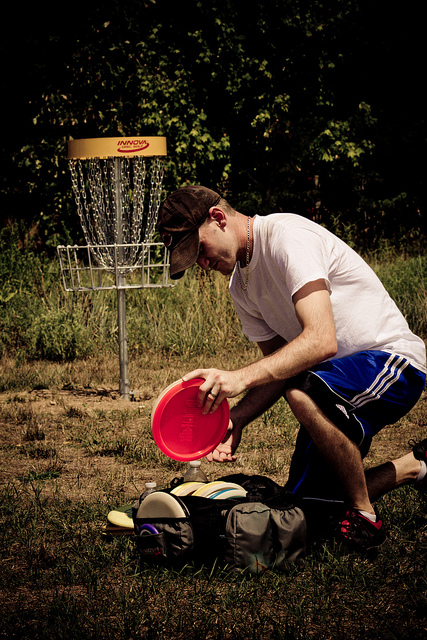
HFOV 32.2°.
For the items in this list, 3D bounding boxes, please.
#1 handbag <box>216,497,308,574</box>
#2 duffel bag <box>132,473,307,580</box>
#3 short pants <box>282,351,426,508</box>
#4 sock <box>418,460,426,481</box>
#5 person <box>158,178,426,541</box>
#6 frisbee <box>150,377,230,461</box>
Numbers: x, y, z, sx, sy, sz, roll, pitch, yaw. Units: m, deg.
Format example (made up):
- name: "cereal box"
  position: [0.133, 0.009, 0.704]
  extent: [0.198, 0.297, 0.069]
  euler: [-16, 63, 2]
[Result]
- name: "handbag"
  position: [0.183, 0.821, 2.737]
  extent: [0.358, 0.230, 0.246]
  euler: [5, -14, -30]
- name: "duffel bag"
  position: [0.055, 0.829, 2.870]
  extent: [0.592, 0.260, 0.511]
  euler: [-13, -16, 41]
- name: "short pants"
  position: [0.461, 0.403, 3.234]
  extent: [0.617, 0.803, 0.635]
  euler: [10, 0, -2]
- name: "sock"
  position: [0.872, 0.628, 3.086]
  extent: [0.015, 0.061, 0.045]
  euler: [18, -16, -26]
- name: "person"
  position: [0.481, 0.251, 3.437]
  extent: [1.616, 1.641, 1.026]
  euler: [4, -16, -11]
- name: "frisbee"
  position: [-0.082, 0.386, 2.867]
  extent: [0.245, 0.402, 0.278]
  euler: [1, 11, 22]
